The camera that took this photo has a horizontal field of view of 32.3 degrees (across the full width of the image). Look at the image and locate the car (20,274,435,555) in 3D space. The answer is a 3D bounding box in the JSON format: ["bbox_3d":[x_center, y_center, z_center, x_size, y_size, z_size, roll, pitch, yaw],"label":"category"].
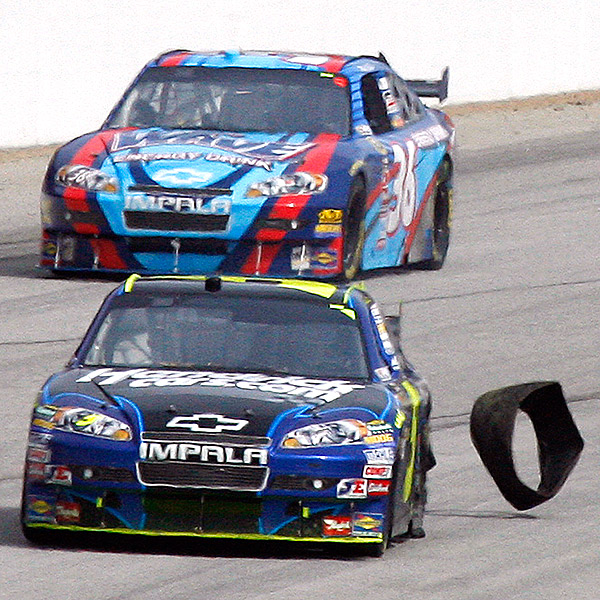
[{"bbox_3d":[-0.305,0.156,4.456,1.654,0.613,1.814,2,27,-2],"label":"car"}]

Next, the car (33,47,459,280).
[{"bbox_3d":[-0.282,-1.432,9.560,2.926,1.155,3.721,8,23,14],"label":"car"}]
